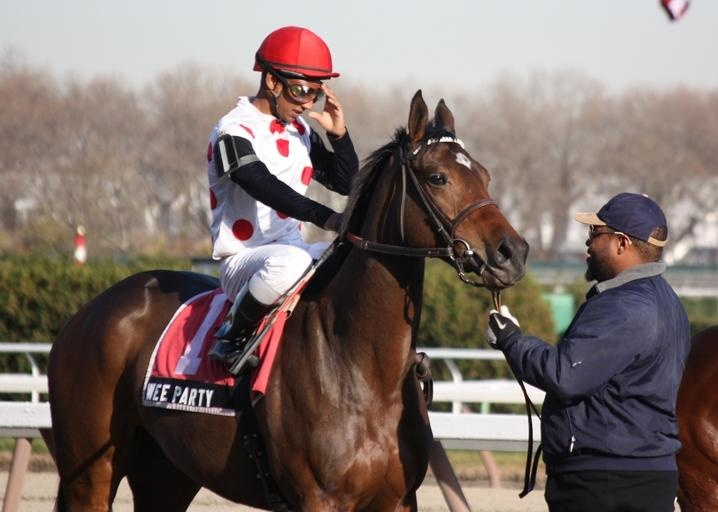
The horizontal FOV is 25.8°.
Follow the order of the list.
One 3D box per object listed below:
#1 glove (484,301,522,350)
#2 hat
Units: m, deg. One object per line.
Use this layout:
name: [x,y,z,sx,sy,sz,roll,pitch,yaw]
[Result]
glove: [1.095,0.522,11.744,0.231,0.332,0.122,-31,-23,31]
hat: [2.021,-0.275,11.753,0.546,0.254,0.367,11,5,6]
